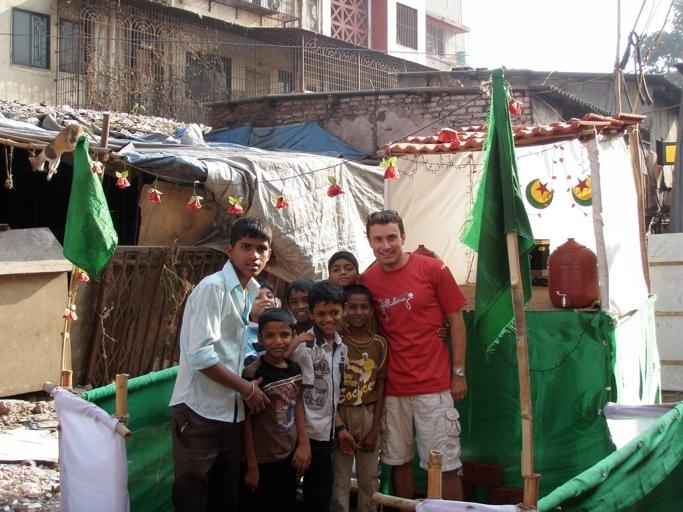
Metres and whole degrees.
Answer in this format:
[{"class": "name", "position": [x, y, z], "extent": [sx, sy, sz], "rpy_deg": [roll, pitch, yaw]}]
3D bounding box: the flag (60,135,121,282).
[{"class": "flag", "position": [-2.493, -0.492, 8.828], "extent": [0.537, 1.416, 0.379], "rpy_deg": [0, 3, 6]}]

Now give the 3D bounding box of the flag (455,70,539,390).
[{"class": "flag", "position": [1.419, -0.362, 8.061], "extent": [0.581, 2.545, 0.669], "rpy_deg": [0, 3, -1]}]

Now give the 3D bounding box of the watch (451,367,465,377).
[{"class": "watch", "position": [1.091, 1.080, 8.345], "extent": [0.093, 0.054, 0.077], "rpy_deg": [3, 3, 41]}]
